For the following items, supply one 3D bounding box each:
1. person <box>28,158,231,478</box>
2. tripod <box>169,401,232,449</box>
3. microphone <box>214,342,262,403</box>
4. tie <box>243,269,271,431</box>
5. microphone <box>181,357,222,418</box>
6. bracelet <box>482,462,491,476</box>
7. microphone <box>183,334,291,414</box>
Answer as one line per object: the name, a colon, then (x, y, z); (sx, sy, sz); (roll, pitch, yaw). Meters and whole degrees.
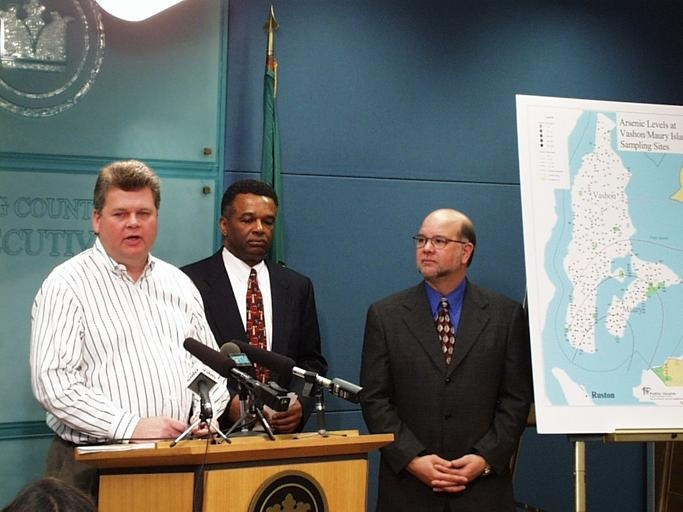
person: (-0.958, 0.156, 3.174); (0.663, 1.165, 0.623); (-1, 3, 9)
tripod: (-0.533, 0.601, 2.742); (0.191, 0.197, 0.191); (2, 3, -27)
microphone: (-0.414, 0.453, 2.854); (0.093, 0.087, 0.313); (1, 24, -39)
tie: (-0.429, 0.419, 3.721); (0.124, 0.700, 0.117); (-3, -33, -1)
microphone: (-0.517, 0.501, 2.695); (0.108, 0.262, 0.115); (-20, -40, 1)
bracelet: (0.693, 1.007, 3.472); (0.019, 0.056, 0.040); (25, -11, -6)
microphone: (-0.404, 0.433, 2.721); (0.450, 0.240, 0.098); (1, 4, 33)
